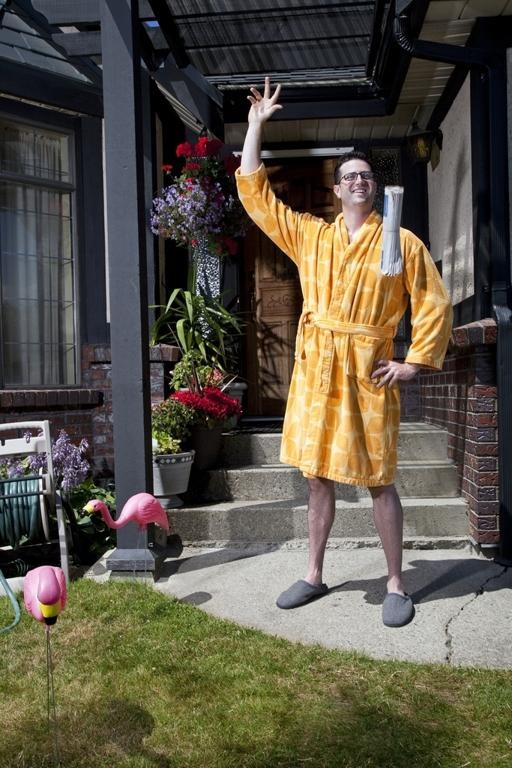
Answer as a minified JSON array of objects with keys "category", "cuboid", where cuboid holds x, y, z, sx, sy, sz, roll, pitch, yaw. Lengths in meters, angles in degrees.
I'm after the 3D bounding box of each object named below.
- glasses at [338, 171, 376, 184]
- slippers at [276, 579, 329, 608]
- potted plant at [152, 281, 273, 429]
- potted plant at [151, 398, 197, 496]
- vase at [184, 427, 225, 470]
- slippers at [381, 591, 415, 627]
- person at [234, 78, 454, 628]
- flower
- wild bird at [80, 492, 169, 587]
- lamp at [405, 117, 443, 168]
[{"category":"glasses","cuboid":[0.365,-0.754,2.523,0.129,0.049,0.067,-1,3,4]},{"category":"slippers","cuboid":[0.177,0.787,2.655,0.190,0.067,0.074,-7,6,-38]},{"category":"potted plant","cuboid":[-0.281,-0.241,4.727,0.648,0.972,0.839,-20,22,-16]},{"category":"potted plant","cuboid":[-0.435,0.341,3.696,0.223,0.518,0.411,-2,3,-8]},{"category":"vase","cuboid":[-0.266,0.366,3.939,0.229,0.221,0.228,0,-2,4]},{"category":"slippers","cuboid":[0.500,0.798,2.453,0.130,0.083,0.126,-2,3,-13]},{"category":"person","cuboid":[0.307,-0.168,2.580,0.771,2.005,0.324,0,3,25]},{"category":"flower","cuboid":[-0.319,0.048,4.064,0.406,0.199,0.354,-9,29,-26]},{"category":"wild bird","cuboid":[-0.491,0.613,2.749,0.279,0.426,0.600,-1,3,-7]},{"category":"lamp","cuboid":[1.117,-1.620,4.658,0.261,0.321,0.254,-4,6,0]}]
